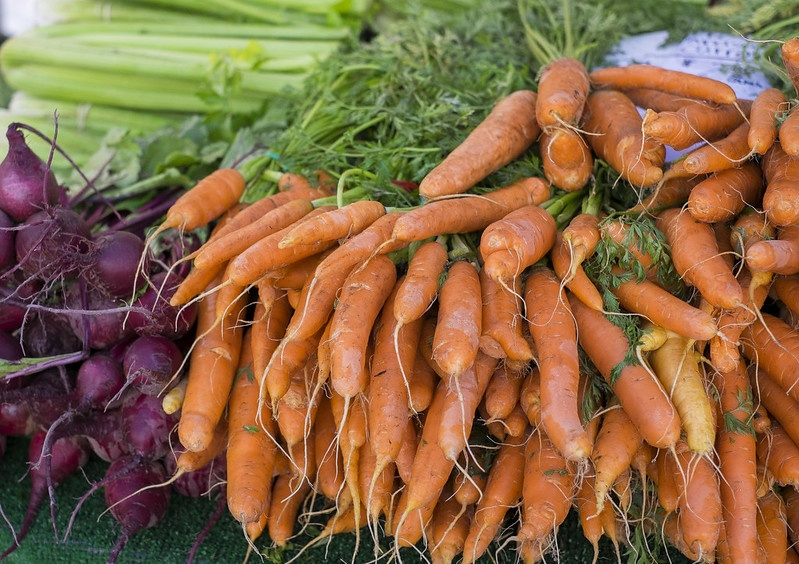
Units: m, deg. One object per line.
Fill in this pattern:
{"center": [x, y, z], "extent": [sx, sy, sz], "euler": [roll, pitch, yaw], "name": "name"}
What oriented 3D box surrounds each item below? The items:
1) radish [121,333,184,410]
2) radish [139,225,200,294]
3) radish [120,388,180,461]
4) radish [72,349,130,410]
{"center": [-1.290, 0.460, 3.637], "extent": [0.246, 0.354, 0.265], "euler": [-2, 1, 6], "name": "radish"}
{"center": [-1.327, -0.173, 4.012], "extent": [0.285, 0.396, 0.124], "euler": [6, -16, 31], "name": "radish"}
{"center": [-1.330, 0.742, 3.801], "extent": [0.258, 0.354, 0.283], "euler": [11, 11, -12], "name": "radish"}
{"center": [-1.577, 0.512, 3.743], "extent": [0.221, 0.305, 0.220], "euler": [40, -10, -1], "name": "radish"}
